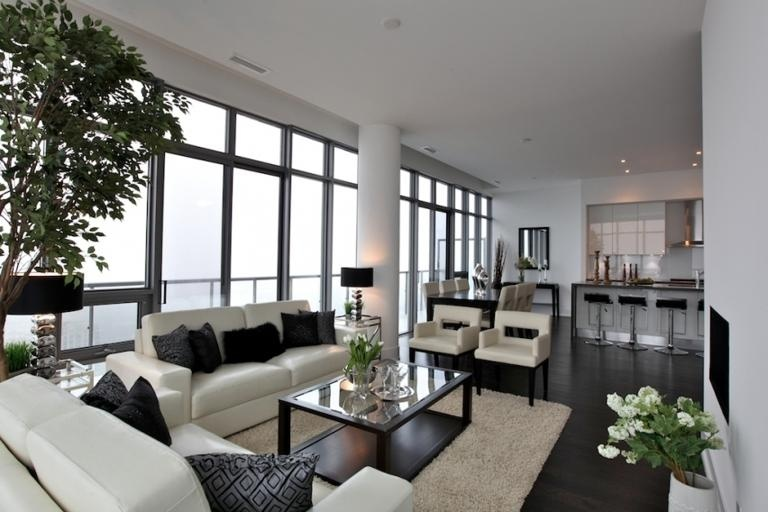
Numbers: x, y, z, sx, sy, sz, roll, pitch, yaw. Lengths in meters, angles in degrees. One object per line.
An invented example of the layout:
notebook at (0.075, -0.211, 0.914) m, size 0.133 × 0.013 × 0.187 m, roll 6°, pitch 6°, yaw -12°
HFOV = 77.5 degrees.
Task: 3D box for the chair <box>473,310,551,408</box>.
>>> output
chair at (1.677, 1.169, 5.867) m, size 0.938 × 1.258 × 0.986 m, roll 0°, pitch -2°, yaw 32°

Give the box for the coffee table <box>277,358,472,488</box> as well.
coffee table at (-0.120, 1.535, 4.310) m, size 0.913 × 0.508 × 1.389 m, roll 0°, pitch 0°, yaw 32°

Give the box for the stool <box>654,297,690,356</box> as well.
stool at (4.783, 1.150, 7.956) m, size 0.538 × 0.860 × 0.886 m, roll 8°, pitch 10°, yaw 30°

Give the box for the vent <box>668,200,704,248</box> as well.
vent at (6.213, -0.682, 9.952) m, size 0.721 × 0.998 × 0.287 m, roll 8°, pitch 10°, yaw 30°

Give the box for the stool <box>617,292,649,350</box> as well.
stool at (4.301, 1.131, 8.301) m, size 0.521 × 0.852 × 0.871 m, roll 7°, pitch 9°, yaw 26°

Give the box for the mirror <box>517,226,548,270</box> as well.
mirror at (3.824, -0.199, 12.242) m, size 1.094 × 1.453 × 0.048 m, roll -1°, pitch -4°, yaw 42°

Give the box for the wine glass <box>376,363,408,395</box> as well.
wine glass at (0.060, 1.157, 4.451) m, size 0.278 × 0.195 × 0.284 m, roll -1°, pitch -5°, yaw 22°

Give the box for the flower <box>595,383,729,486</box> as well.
flower at (2.132, 1.414, 3.693) m, size 0.699 × 0.587 × 0.795 m, roll -4°, pitch -33°, yaw 45°

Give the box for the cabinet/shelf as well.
cabinet/shelf at (5.301, -0.621, 10.346) m, size 1.214 × 0.934 × 0.391 m, roll 0°, pitch -1°, yaw 37°

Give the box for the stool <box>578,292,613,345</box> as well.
stool at (3.851, 1.109, 8.604) m, size 0.549 × 0.848 × 0.806 m, roll 7°, pitch 9°, yaw 23°
